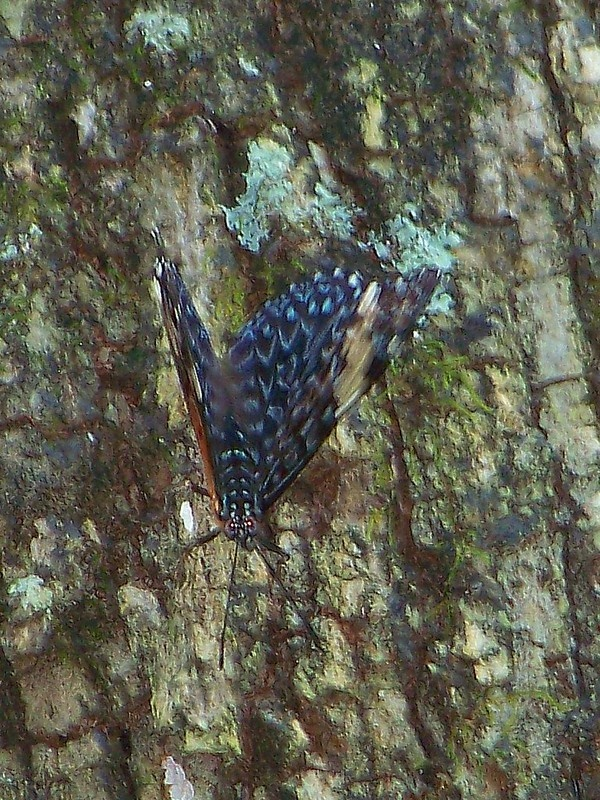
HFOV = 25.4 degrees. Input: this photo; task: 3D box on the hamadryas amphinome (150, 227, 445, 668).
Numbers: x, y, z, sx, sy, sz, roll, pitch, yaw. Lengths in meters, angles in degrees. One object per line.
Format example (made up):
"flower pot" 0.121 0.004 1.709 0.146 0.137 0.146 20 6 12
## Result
"hamadryas amphinome" -0.022 -0.004 1.526 0.328 0.131 0.317 8 69 -7
